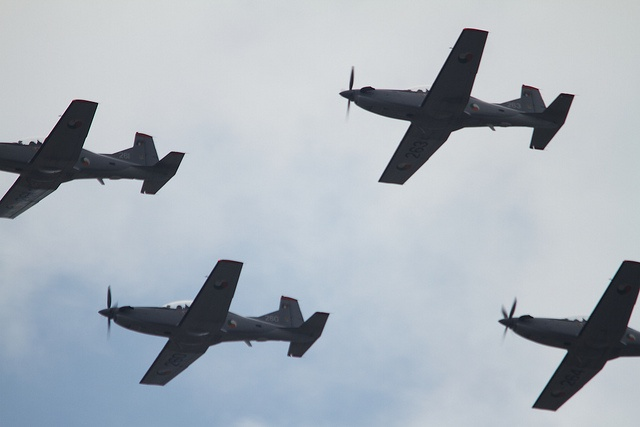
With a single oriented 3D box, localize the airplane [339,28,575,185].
[{"bbox_3d":[7.990,-6.220,49.220,9.111,8.139,9.790,-12,-48,39],"label":"airplane"}]
